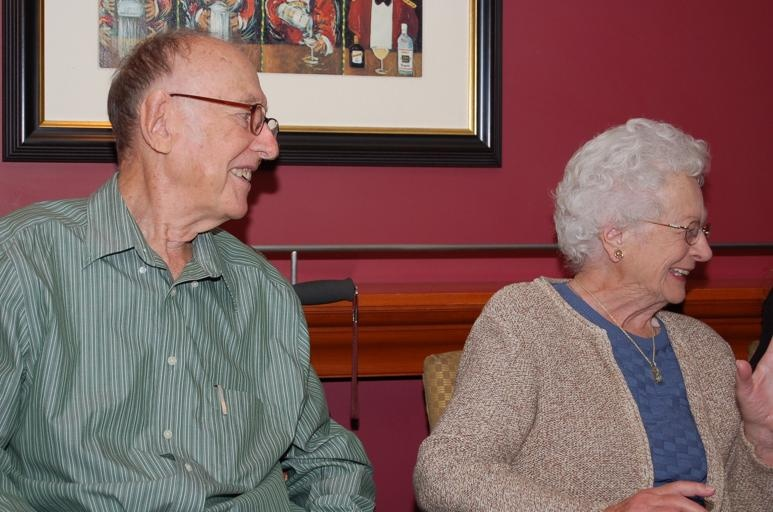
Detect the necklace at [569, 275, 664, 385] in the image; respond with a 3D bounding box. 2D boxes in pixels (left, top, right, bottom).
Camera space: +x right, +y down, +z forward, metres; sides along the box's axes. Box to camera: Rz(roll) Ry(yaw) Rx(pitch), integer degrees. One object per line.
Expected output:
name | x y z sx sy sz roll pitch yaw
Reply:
necklace | 0.737 0.236 2.526 0.116 0.348 0.027 -29 -8 -33
